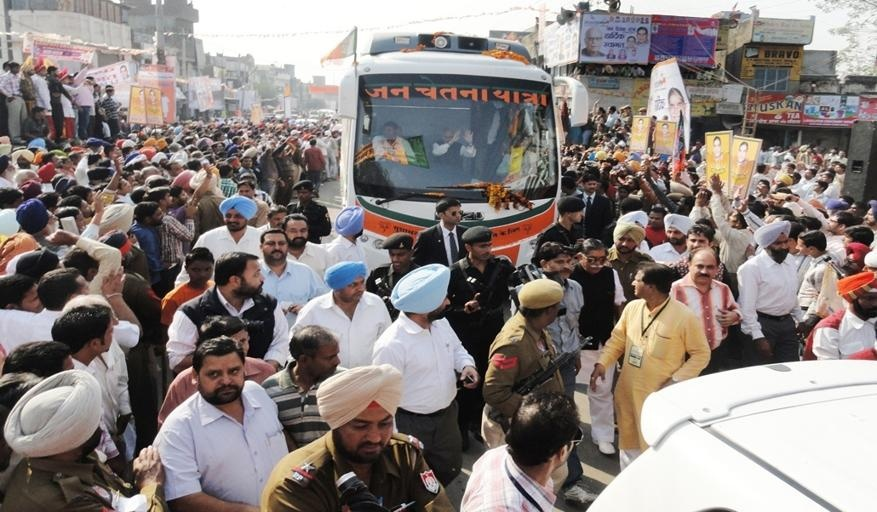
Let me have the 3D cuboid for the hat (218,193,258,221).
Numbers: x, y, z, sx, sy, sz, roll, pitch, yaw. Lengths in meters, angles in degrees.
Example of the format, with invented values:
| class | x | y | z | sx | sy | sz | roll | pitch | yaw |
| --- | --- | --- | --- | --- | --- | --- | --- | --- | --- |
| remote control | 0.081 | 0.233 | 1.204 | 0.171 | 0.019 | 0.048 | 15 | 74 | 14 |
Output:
| class | x | y | z | sx | sy | sz | roll | pitch | yaw |
| --- | --- | --- | --- | --- | --- | --- | --- | --- | --- |
| hat | -2.733 | -0.686 | 9.373 | 0.384 | 0.260 | 0.431 | -4 | -2 | -2 |

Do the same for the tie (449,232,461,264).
| class | x | y | z | sx | sy | sz | roll | pitch | yaw |
| --- | --- | --- | --- | --- | --- | --- | --- | --- | --- |
| tie | 0.249 | -0.106 | 9.827 | 0.284 | 0.356 | 0.193 | -1 | -12 | 6 |

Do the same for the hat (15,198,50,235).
| class | x | y | z | sx | sy | sz | roll | pitch | yaw |
| --- | --- | --- | --- | --- | --- | --- | --- | --- | --- |
| hat | -5.265 | -0.507 | 8.784 | 0.361 | 0.373 | 0.476 | 1 | 49 | -24 |

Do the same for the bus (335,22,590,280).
| class | x | y | z | sx | sy | sz | roll | pitch | yaw |
| --- | --- | --- | --- | --- | --- | --- | --- | --- | --- |
| bus | 0.139 | -2.094 | 13.079 | 3.309 | 3.294 | 4.865 | 0 | 3 | -6 |

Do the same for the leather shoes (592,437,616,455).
| class | x | y | z | sx | sy | sz | roll | pitch | yaw |
| --- | --- | --- | --- | --- | --- | --- | --- | --- | --- |
| leather shoes | 2.118 | 2.434 | 8.590 | 0.123 | 0.120 | 0.295 | -3 | 7 | -28 |

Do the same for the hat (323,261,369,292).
| class | x | y | z | sx | sy | sz | roll | pitch | yaw |
| --- | --- | --- | --- | --- | --- | --- | --- | --- | --- |
| hat | -1.014 | 0.240 | 7.313 | 0.371 | 0.190 | 0.305 | -18 | 4 | 21 |

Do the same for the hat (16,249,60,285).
| class | x | y | z | sx | sy | sz | roll | pitch | yaw |
| --- | --- | --- | --- | --- | --- | --- | --- | --- | --- |
| hat | -4.504 | 0.089 | 7.572 | 0.460 | 0.155 | 0.309 | 1 | 41 | 7 |

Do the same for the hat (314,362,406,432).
| class | x | y | z | sx | sy | sz | roll | pitch | yaw |
| --- | --- | --- | --- | --- | --- | --- | --- | --- | --- |
| hat | -0.601 | 1.062 | 5.258 | 0.502 | 0.349 | 0.570 | -13 | 5 | -28 |
